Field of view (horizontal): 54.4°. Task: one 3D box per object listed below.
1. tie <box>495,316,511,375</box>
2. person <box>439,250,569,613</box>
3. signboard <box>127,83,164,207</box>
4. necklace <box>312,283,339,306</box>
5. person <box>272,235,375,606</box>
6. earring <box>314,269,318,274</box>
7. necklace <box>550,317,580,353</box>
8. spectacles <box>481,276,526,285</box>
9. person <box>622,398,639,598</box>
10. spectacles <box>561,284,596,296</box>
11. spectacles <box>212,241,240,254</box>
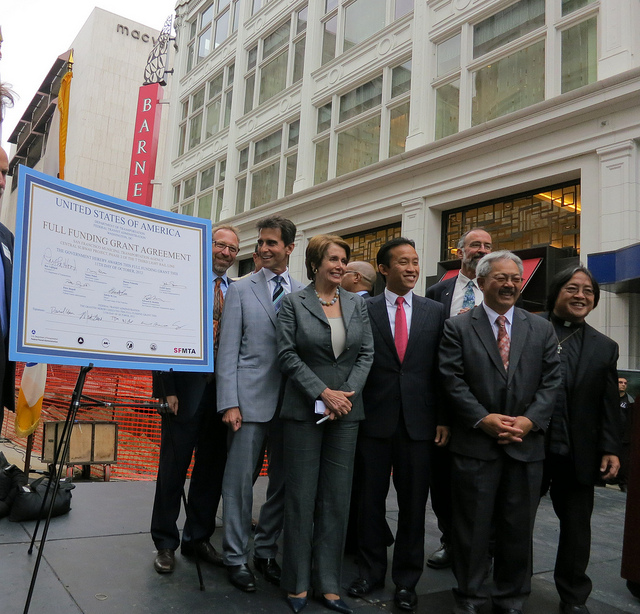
[{"bbox_3d":[1.225,0.210,4.174,0.098,0.103,0.607,-1,27,13],"label":"tie"},{"bbox_3d":[1.189,0.766,4.084,0.743,2.284,0.429,2,-4,-12],"label":"person"},{"bbox_3d":[-6.965,-6.305,24.801,0.948,4.962,0.419,5,0,20],"label":"signboard"},{"bbox_3d":[0.058,-0.069,4.242,0.165,0.131,0.083,2,-5,-13],"label":"necklace"},{"bbox_3d":[0.030,0.683,4.081,0.635,2.385,0.431,1,-4,-5],"label":"person"},{"bbox_3d":[-0.025,-0.243,4.304,0.008,0.032,0.073,2,-5,-14],"label":"earring"},{"bbox_3d":[1.691,0.204,4.274,0.167,0.200,0.020,40,-16,29],"label":"necklace"},{"bbox_3d":[1.261,-0.174,4.142,0.207,0.051,0.076,3,-5,-18],"label":"spectacles"},{"bbox_3d":[2.219,1.327,4.431,0.130,1.341,0.394,-1,-5,27],"label":"person"},{"bbox_3d":[1.775,-0.118,4.260,0.098,0.032,0.106,4,-28,7],"label":"spectacles"},{"bbox_3d":[-0.729,-0.462,4.892,0.246,0.093,0.102,5,-6,-39],"label":"spectacles"}]
